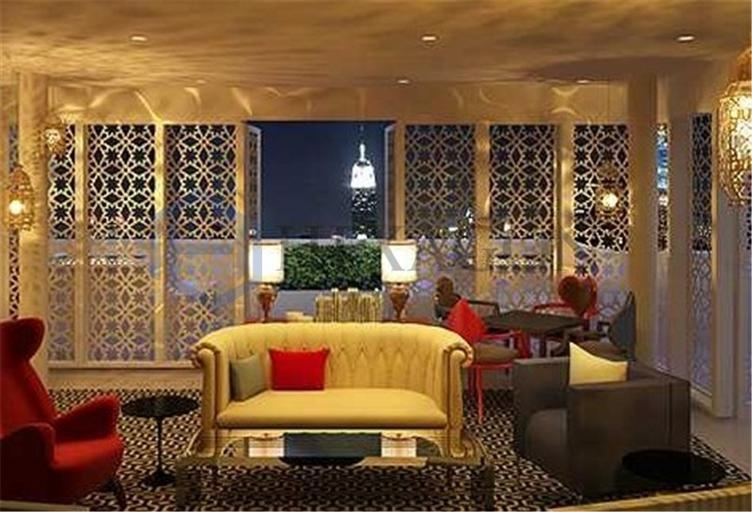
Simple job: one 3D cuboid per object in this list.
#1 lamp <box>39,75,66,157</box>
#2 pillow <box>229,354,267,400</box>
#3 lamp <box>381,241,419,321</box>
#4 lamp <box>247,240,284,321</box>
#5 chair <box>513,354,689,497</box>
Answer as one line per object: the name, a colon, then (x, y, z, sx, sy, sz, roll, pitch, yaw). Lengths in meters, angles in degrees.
lamp: (-3.683, -1.532, 8.368, 0.257, 0.816, 0.473, -5, 4, -22)
pillow: (-1.165, 1.088, 6.611, 0.135, 0.286, 0.375, -3, 5, 38)
lamp: (0.255, 0.266, 7.862, 0.393, 0.837, 0.534, -3, 4, 2)
lamp: (-1.190, 0.283, 8.014, 0.371, 0.846, 0.295, 0, -2, -17)
chair: (1.881, 1.318, 6.365, 1.159, 0.864, 1.160, 0, -2, -9)
